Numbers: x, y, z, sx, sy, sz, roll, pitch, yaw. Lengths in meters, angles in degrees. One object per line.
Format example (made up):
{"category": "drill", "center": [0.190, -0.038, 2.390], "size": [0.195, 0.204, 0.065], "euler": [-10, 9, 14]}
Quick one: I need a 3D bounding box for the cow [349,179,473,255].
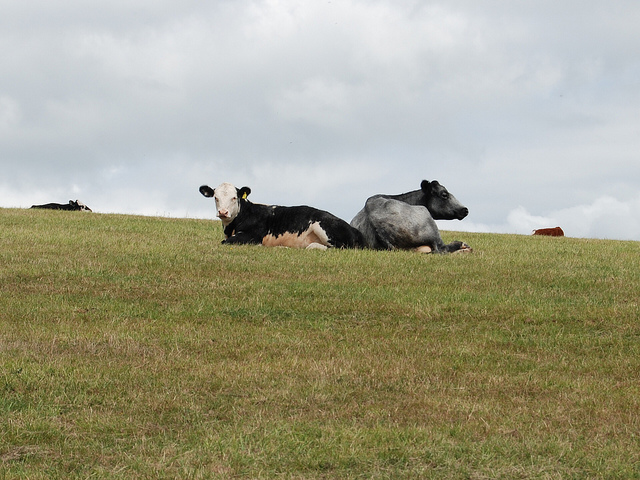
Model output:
{"category": "cow", "center": [2.193, -0.452, 30.395], "size": [3.122, 1.843, 1.840], "euler": [-5, 6, 8]}

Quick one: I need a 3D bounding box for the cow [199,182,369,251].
{"category": "cow", "center": [-1.346, -0.431, 30.127], "size": [4.444, 1.848, 1.752], "euler": [7, 2, 20]}

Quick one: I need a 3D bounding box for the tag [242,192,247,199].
{"category": "tag", "center": [-2.134, -1.096, 30.576], "size": [0.104, 0.151, 0.046], "euler": [9, 0, 30]}

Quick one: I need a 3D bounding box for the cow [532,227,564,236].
{"category": "cow", "center": [7.245, -0.191, 38.088], "size": [0.738, 0.394, 0.276], "euler": [-5, 12, 1]}
